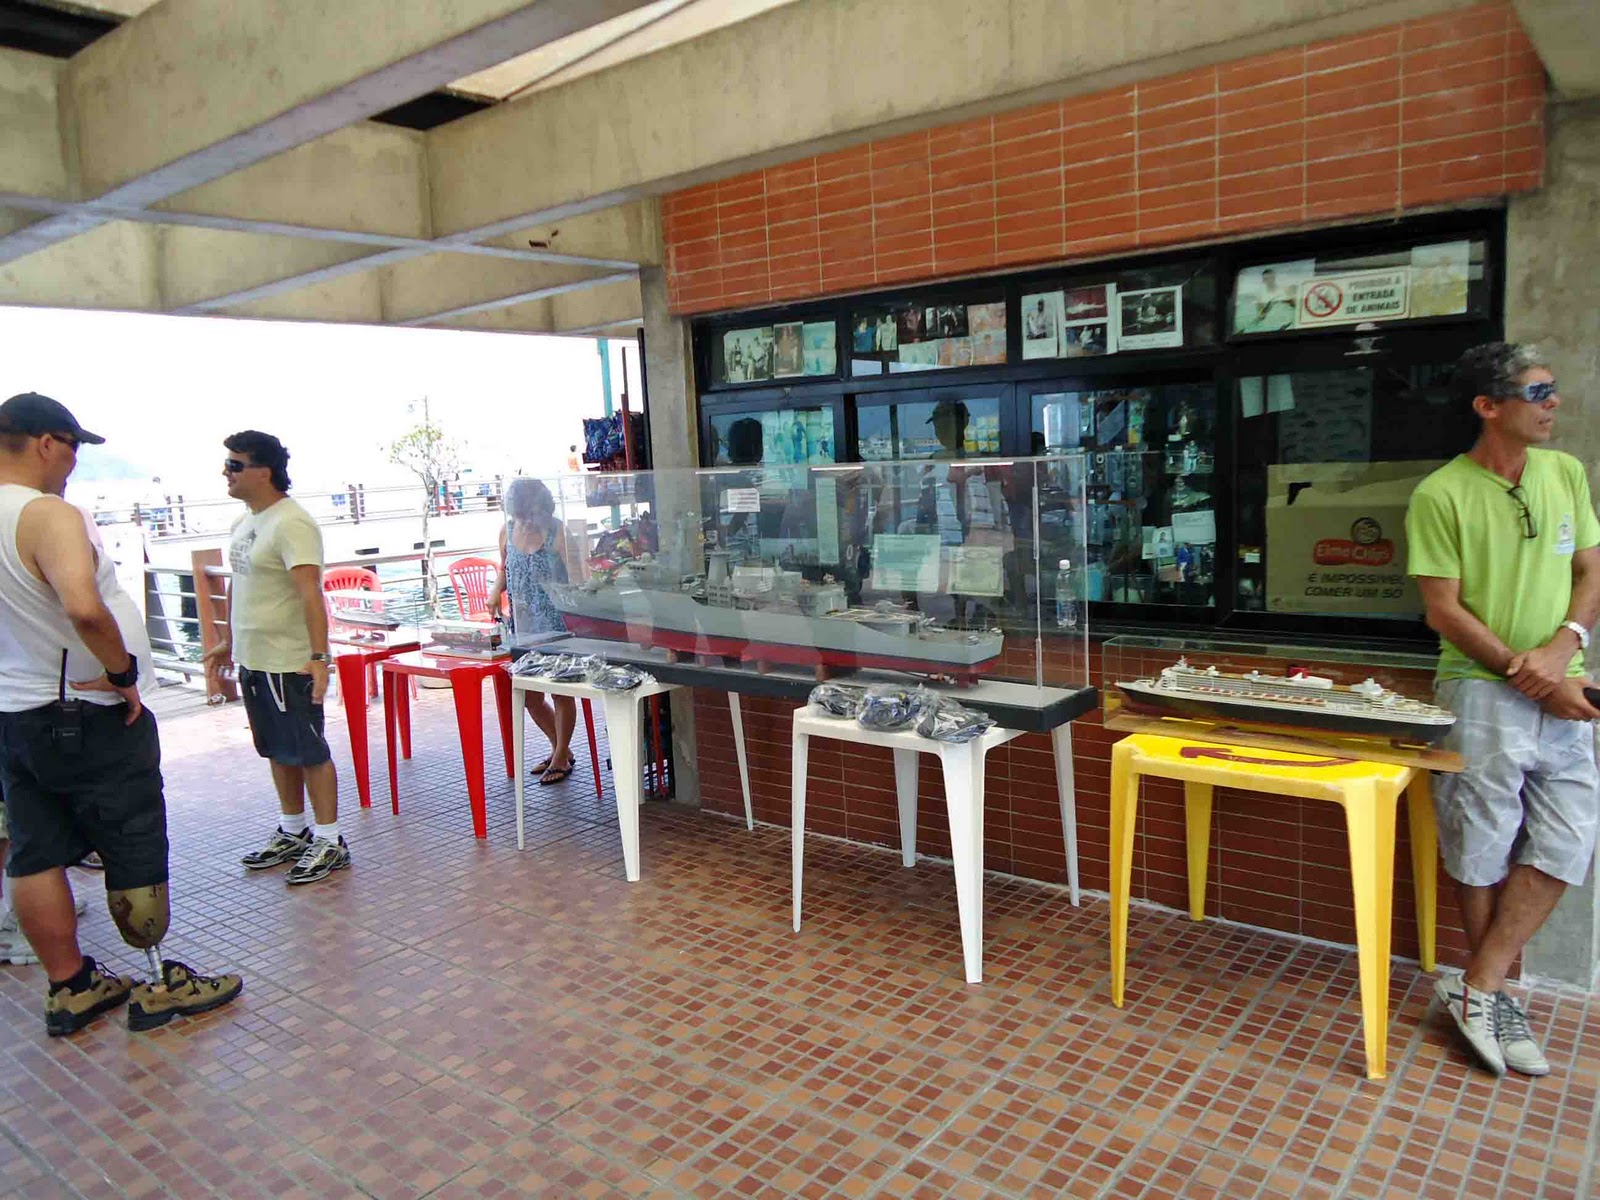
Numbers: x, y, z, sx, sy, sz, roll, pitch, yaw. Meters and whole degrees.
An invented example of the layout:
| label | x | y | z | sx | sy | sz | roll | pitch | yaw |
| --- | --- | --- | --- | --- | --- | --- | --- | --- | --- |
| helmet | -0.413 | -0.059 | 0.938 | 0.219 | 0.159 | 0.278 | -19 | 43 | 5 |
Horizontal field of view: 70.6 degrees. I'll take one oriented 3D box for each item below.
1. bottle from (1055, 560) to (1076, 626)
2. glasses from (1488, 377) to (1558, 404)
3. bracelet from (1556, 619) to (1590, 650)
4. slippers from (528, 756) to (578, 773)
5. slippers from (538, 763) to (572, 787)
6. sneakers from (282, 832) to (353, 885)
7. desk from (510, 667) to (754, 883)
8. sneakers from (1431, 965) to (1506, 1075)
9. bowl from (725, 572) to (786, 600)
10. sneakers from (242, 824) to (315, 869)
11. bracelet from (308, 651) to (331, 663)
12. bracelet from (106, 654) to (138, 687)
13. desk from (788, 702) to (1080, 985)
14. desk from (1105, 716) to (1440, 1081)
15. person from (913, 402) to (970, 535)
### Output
| label | x | y | z | sx | sy | sz | roll | pitch | yaw |
| --- | --- | --- | --- | --- | --- | --- | --- | --- | --- |
| bottle | 1.074 | -0.031 | 4.563 | 0.022 | 0.297 | 0.121 | 9 | 20 | 43 |
| glasses | 2.438 | -0.705 | 3.778 | 0.157 | 0.078 | 0.034 | -2 | 15 | 8 |
| bracelet | 2.636 | 0.108 | 3.866 | 0.097 | 0.047 | 0.081 | 20 | -9 | 14 |
| slippers | -1.589 | 1.067 | 7.362 | 0.336 | 0.106 | 0.100 | 2 | 6 | -5 |
| slippers | -1.562 | 1.110 | 7.196 | 0.168 | 0.091 | 0.381 | 0 | -1 | 1 |
| sneakers | -2.495 | 1.328 | 5.844 | 0.187 | 0.173 | 0.311 | 1 | 14 | 22 |
| desk | -1.065 | 0.826 | 6.182 | 1.270 | 0.984 | 1.177 | 2 | 4 | 19 |
| sneakers | 2.328 | 1.458 | 3.937 | 0.118 | 0.123 | 0.303 | -9 | 34 | -6 |
| bowl | -0.207 | -0.085 | 5.224 | 0.083 | 0.112 | 0.198 | 15 | -11 | -40 |
| sneakers | -2.803 | 1.330 | 6.178 | 0.519 | 0.189 | 0.160 | -2 | 6 | -33 |
| bracelet | -2.485 | 0.292 | 5.842 | 0.082 | 0.042 | 0.079 | 12 | -9 | -34 |
| bracelet | -2.596 | 0.265 | 4.352 | 0.138 | 0.086 | 0.122 | 3 | -11 | 45 |
| desk | 0.659 | 0.925 | 5.213 | 1.294 | 1.044 | 1.222 | 7 | 11 | 35 |
| desk | 1.867 | 0.894 | 4.626 | 1.237 | 1.154 | 1.589 | 4 | 7 | 35 |
| person | 0.626 | -0.554 | 4.845 | 0.215 | 0.694 | 0.288 | -2 | -17 | 17 |
